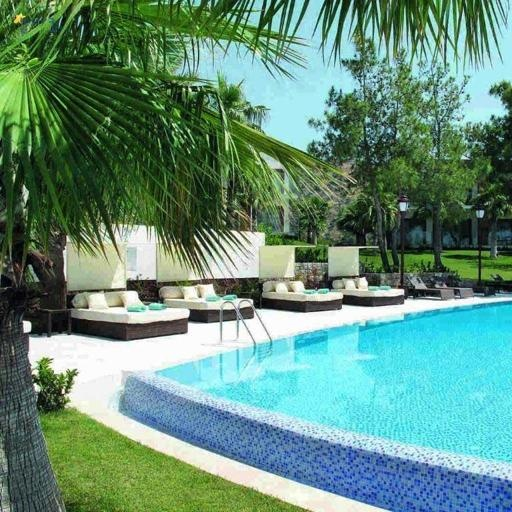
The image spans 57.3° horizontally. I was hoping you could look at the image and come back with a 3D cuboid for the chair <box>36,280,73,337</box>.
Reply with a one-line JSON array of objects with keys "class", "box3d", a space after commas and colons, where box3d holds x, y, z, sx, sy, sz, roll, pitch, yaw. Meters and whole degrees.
[{"class": "chair", "box3d": [-4.392, 1.156, 10.294, 0.550, 1.194, 0.617, 1, -3, -29]}]
